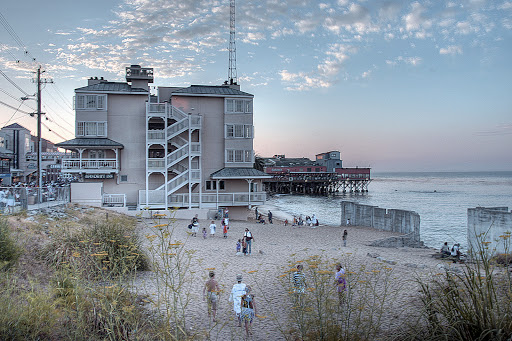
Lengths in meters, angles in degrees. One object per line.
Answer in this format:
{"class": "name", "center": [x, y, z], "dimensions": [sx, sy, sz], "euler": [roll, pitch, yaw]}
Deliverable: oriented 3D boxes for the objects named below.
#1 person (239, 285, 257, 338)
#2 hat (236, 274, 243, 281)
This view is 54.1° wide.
{"class": "person", "center": [-0.352, 6.329, 22.625], "dimensions": [0.685, 2.309, 0.987], "euler": [1, -3, -2]}
{"class": "hat", "center": [-0.731, 4.873, 22.991], "dimensions": [0.417, 0.218, 0.463], "euler": [0, 19, -5]}
